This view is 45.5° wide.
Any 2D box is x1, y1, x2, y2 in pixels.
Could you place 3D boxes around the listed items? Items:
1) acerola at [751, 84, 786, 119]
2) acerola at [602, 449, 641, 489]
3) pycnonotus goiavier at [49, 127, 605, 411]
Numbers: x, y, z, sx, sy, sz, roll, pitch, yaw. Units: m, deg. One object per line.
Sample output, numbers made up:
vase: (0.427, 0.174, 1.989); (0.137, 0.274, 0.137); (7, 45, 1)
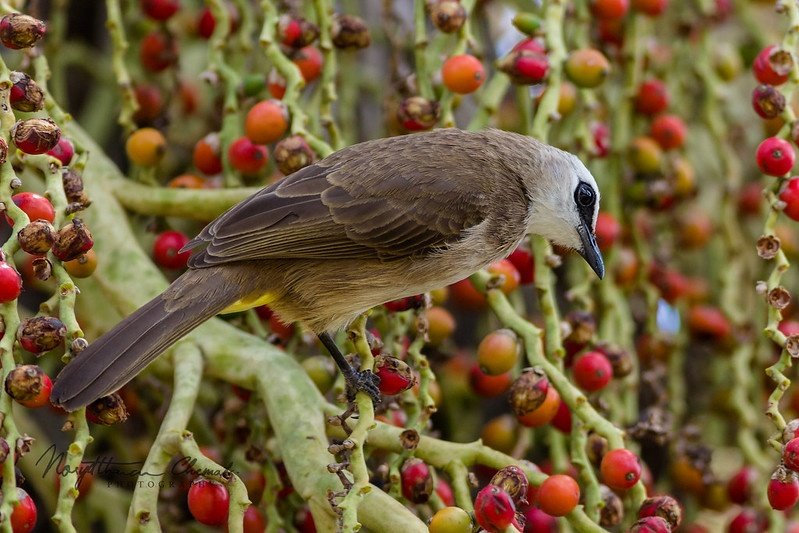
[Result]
acerola: (1.277, -0.573, 3.300); (0.111, 0.092, 0.064); (51, 34, 0)
acerola: (0.741, 0.677, 3.182); (0.085, 0.088, 0.102); (39, -45, 1)
pycnonotus goiavier: (-0.254, 0.013, 4.040); (2.263, 1.077, 0.723); (0, 0, -8)
